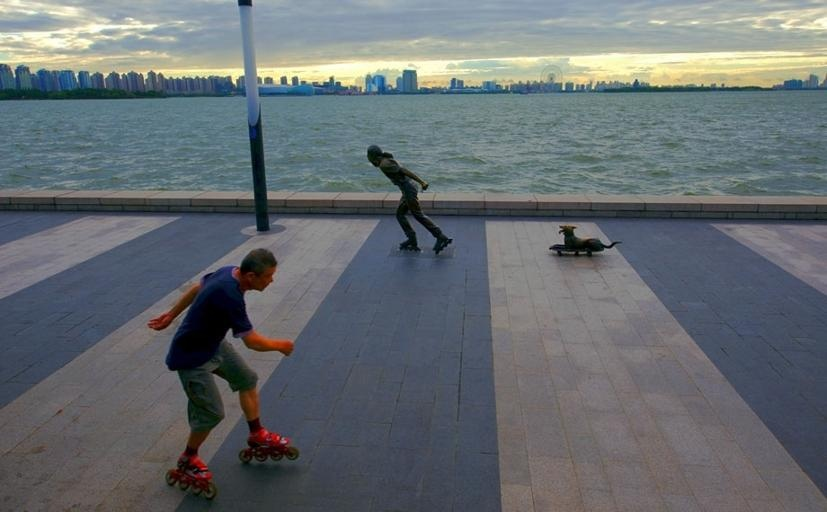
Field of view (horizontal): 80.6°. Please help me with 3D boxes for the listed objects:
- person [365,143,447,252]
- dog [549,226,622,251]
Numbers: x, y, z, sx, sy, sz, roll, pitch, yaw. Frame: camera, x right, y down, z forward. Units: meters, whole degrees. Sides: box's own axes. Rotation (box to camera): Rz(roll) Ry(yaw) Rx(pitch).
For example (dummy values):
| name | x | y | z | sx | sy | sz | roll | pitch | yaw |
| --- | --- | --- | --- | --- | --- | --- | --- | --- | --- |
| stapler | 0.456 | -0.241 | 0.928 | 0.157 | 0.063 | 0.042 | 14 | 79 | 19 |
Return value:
| name | x | y | z | sx | sy | sz | roll | pitch | yaw |
| --- | --- | --- | --- | --- | --- | --- | --- | --- | --- |
| person | 0.026 | -1.196 | 9.886 | 1.474 | 2.154 | 1.086 | 10 | 25 | 25 |
| dog | 3.344 | -0.331 | 9.773 | 1.167 | 0.526 | 0.404 | 2 | 22 | 8 |
